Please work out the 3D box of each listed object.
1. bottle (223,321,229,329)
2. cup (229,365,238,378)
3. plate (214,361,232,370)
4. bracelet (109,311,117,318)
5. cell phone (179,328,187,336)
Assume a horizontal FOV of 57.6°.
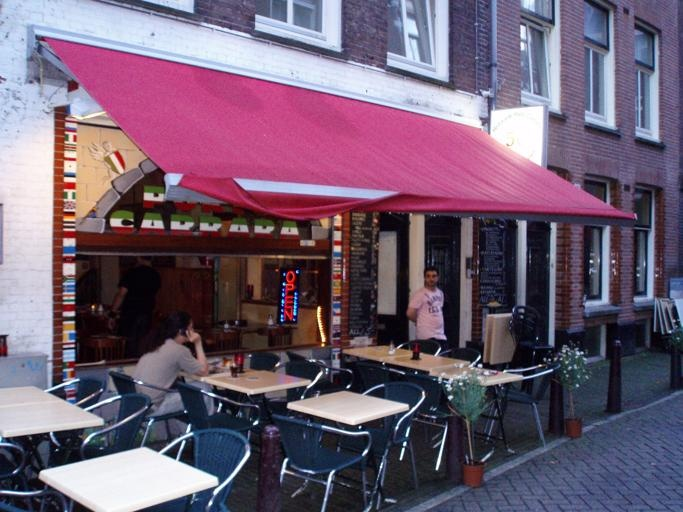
[{"bbox_3d":[-1.849,1.122,9.996,0.104,0.084,0.112,4,8,-1],"label":"bottle"},{"bbox_3d":[-1.240,1.347,7.195,0.107,0.124,0.107,0,-2,0],"label":"cup"},{"bbox_3d":[-1.447,1.353,7.642,0.164,0.036,0.170,4,7,38],"label":"plate"},{"bbox_3d":[-3.504,0.913,9.566,0.093,0.095,0.092,2,-14,6],"label":"bracelet"},{"bbox_3d":[-1.857,0.901,7.309,0.065,0.087,0.050,3,1,-26],"label":"cell phone"}]
